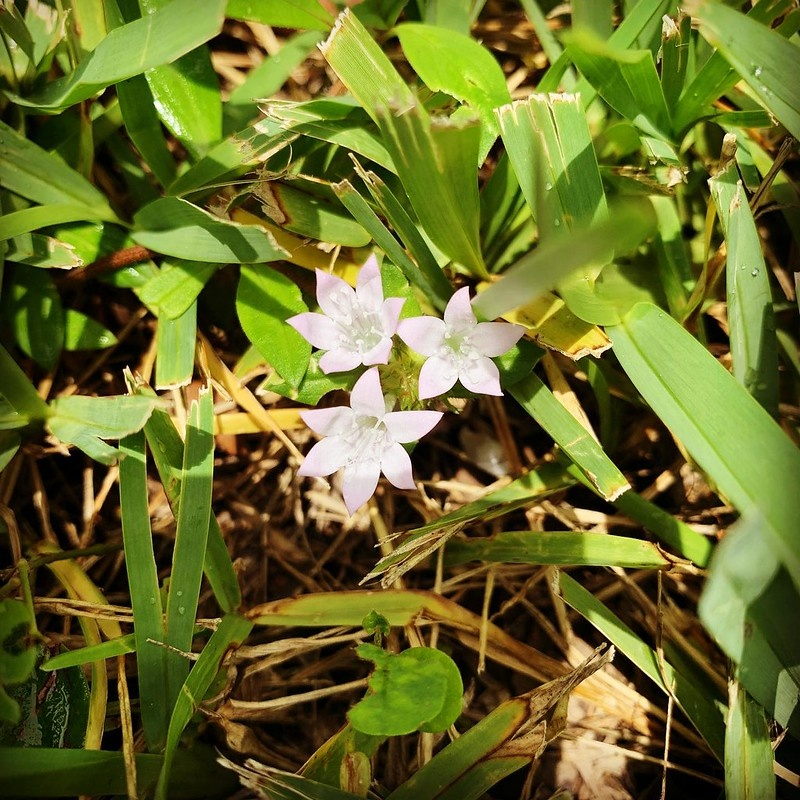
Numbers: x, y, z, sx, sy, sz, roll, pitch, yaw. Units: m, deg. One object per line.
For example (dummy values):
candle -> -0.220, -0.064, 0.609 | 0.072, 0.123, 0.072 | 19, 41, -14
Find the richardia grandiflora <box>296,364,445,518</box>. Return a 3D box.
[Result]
richardia grandiflora -> -0.055, 0.064, 1.184 | 0.184, 0.198, 0.191 | -13, 51, -24

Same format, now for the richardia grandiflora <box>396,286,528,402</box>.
richardia grandiflora -> 0.097, -0.095, 1.222 | 0.175, 0.175, 0.048 | 34, 26, -9

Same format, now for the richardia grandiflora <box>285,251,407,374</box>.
richardia grandiflora -> -0.071, -0.124, 1.195 | 0.168, 0.179, 0.098 | 0, 3, 35
